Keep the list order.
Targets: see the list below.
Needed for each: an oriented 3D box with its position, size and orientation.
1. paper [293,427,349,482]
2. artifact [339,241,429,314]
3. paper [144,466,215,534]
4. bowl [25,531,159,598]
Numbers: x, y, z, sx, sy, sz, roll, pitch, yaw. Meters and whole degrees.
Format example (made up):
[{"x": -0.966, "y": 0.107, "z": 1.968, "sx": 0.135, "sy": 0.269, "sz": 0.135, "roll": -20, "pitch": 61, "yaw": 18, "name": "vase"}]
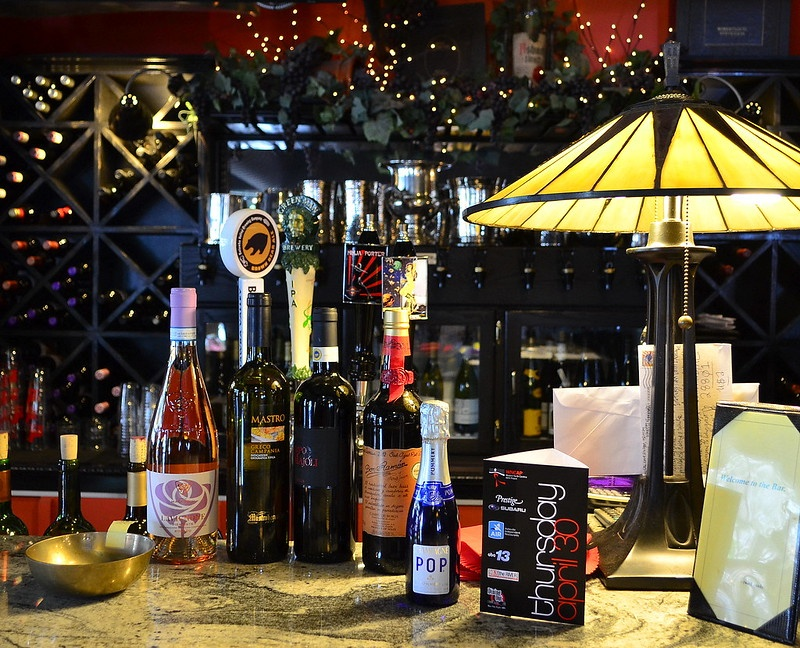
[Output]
[{"x": -0.163, "y": 0.269, "z": 2.223, "sx": 0.103, "sy": 0.119, "sz": 0.104, "roll": 0, "pitch": 0, "yaw": -38, "name": "paper"}, {"x": -0.033, "y": -0.093, "z": 2.215, "sx": 0.219, "sy": 0.173, "sz": 0.131, "roll": 4, "pitch": 5, "yaw": 18, "name": "artifact"}, {"x": -0.447, "y": 0.364, "z": 2.175, "sx": 0.122, "sy": 0.128, "sz": 0.127, "roll": 0, "pitch": -2, "yaw": 8, "name": "paper"}, {"x": -0.609, "y": 0.470, "z": 2.067, "sx": 0.152, "sy": 0.065, "sz": 0.156, "roll": 1, "pitch": -3, "yaw": 0, "name": "bowl"}]
